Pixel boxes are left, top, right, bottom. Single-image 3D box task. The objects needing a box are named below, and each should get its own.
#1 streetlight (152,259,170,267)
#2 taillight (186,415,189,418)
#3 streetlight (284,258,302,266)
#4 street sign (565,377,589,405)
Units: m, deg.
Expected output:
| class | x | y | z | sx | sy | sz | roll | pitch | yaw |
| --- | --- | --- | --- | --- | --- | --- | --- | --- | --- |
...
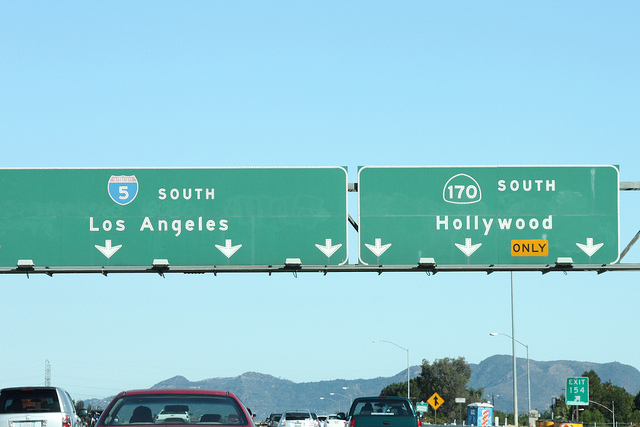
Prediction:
| class | x | y | z | sx | sy | sz | roll | pitch | yaw |
| --- | --- | --- | --- | --- | --- | --- | --- | --- | --- |
| streetlight | -12.712 | 4.296 | 130.095 | 1.198 | 0.647 | 0.133 | -3 | -4 | -3 |
| taillight | -10.343 | 15.947 | 127.029 | 0.045 | 0.208 | 0.194 | -5 | -4 | 21 |
| streetlight | -2.178 | 4.201 | 130.224 | 1.255 | 0.646 | 0.173 | -3 | -4 | -3 |
| street sign | 24.144 | 16.881 | 153.489 | 2.120 | 2.541 | 2.803 | -3 | -5 | 7 |
